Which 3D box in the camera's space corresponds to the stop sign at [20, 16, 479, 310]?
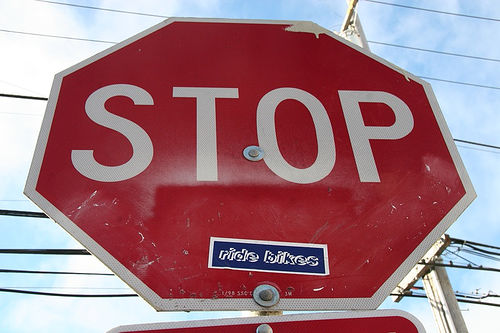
[{"bbox_3d":[-0.014,0.022,2.975,1.616,0.134,1.251,1,49,-6],"label":"stop sign"}]
